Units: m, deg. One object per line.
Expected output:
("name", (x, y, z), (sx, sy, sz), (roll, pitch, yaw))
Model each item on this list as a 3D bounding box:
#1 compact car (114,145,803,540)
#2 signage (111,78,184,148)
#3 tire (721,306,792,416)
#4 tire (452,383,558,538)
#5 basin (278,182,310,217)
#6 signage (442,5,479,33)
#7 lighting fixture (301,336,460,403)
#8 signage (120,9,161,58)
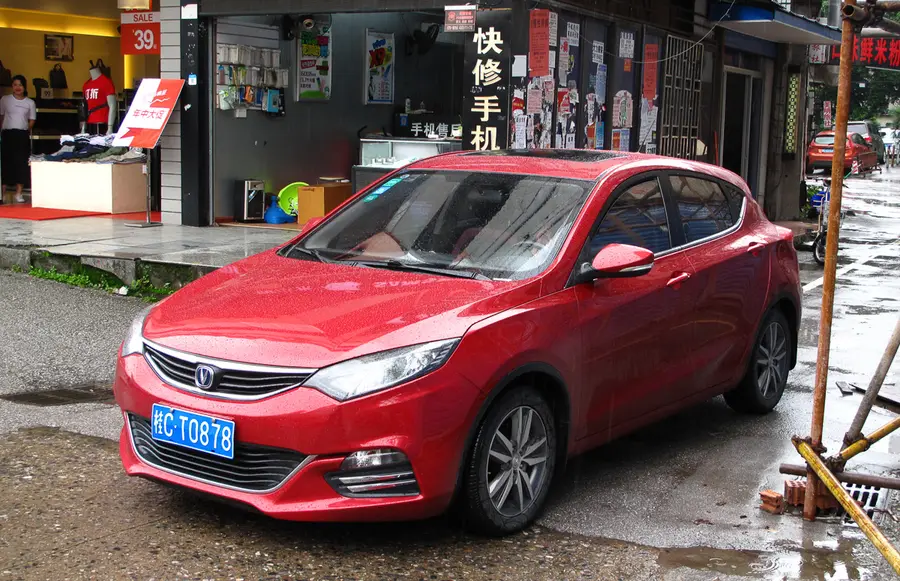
("compact car", (0.463, -0.019, 5.957), (2.996, 2.136, 5.569), (8, 14, 41))
("signage", (-5.954, -3.520, 13.470), (1.123, 1.335, 0.936), (8, 13, 25))
("tire", (2.624, 0.580, 5.859), (0.261, 0.820, 0.811), (15, -2, 33))
("tire", (0.320, 0.997, 4.096), (0.241, 0.862, 0.854), (1, -8, 41))
("basin", (-3.473, -2.029, 14.995), (0.703, 0.732, 0.296), (0, 13, 15))
("signage", (0.184, -4.348, 10.922), (0.451, 0.390, 0.064), (3, 9, 13))
("lighting fixture", (-0.371, 0.421, 3.712), (0.992, 0.279, 0.247), (-17, -4, -16))
("signage", (-7.763, -6.313, 16.758), (0.368, 0.965, 1.108), (22, 27, 27))
